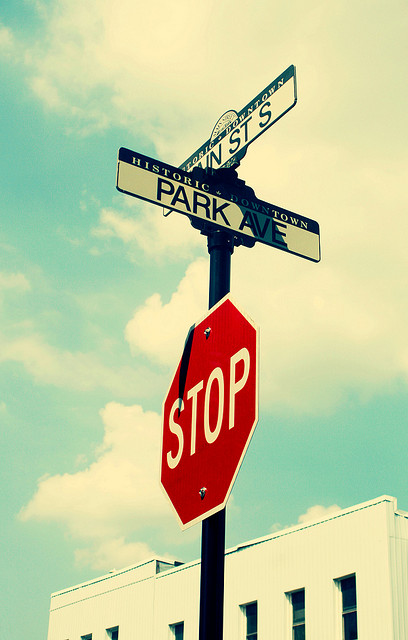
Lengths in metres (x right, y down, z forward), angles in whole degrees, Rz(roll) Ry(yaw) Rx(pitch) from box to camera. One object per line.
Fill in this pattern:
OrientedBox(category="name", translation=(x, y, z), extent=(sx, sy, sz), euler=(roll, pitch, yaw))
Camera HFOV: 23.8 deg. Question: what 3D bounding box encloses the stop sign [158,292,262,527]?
OrientedBox(category="stop sign", translation=(0.039, 0.499, 5.882), extent=(0.193, 1.472, 1.009), euler=(14, -23, -27))
